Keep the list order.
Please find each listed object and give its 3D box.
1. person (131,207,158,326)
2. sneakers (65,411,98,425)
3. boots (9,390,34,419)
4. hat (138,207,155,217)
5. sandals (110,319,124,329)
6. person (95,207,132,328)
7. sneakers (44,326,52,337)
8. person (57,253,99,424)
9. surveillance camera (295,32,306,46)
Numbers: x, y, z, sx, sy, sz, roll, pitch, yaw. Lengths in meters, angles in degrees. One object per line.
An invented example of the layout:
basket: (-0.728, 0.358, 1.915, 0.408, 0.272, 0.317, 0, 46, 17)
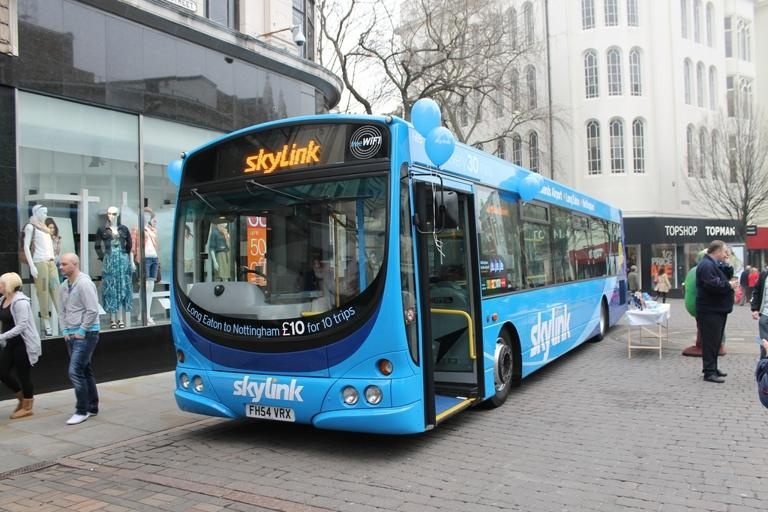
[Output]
person: (-5.250, 0.188, 14.582, 0.485, 2.448, 0.882, -2, 9, -7)
sneakers: (-5.071, 2.726, 11.090, 0.134, 0.121, 0.407, -2, -9, 18)
boots: (-6.138, 2.541, 11.278, 0.392, 0.402, 0.361, 1, -9, 15)
hat: (-5.294, -0.976, 14.674, 0.217, 0.117, 0.306, 3, -1, -2)
sandals: (-5.567, 1.423, 13.821, 0.312, 0.168, 0.175, -8, 12, -36)
person: (-5.642, 0.201, 14.038, 0.636, 2.440, 0.869, 7, 12, 39)
sneakers: (-6.557, 1.463, 12.919, 0.146, 0.180, 0.107, -6, 11, -30)
person: (-5.113, 1.355, 11.080, 0.641, 2.781, 0.640, -7, 11, -32)
surveillance camera: (-2.369, -6.124, 18.558, 0.292, 0.379, 0.742, -2, 10, -10)
